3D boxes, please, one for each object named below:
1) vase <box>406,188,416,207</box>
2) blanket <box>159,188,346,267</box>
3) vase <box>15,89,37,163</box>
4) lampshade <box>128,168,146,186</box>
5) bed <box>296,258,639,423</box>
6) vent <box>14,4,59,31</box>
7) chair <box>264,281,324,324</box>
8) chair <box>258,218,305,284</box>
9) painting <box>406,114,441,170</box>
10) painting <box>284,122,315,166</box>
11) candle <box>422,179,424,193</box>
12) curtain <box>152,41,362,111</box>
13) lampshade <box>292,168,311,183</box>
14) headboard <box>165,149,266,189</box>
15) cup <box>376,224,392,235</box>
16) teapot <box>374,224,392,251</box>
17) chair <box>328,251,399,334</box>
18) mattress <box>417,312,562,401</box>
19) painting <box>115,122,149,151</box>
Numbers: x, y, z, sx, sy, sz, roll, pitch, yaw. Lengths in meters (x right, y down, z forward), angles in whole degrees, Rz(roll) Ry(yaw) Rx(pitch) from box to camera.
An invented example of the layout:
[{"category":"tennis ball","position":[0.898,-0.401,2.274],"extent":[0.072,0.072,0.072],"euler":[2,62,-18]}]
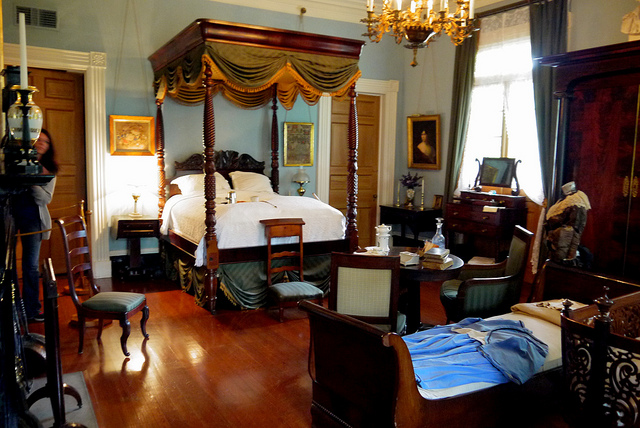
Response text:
[{"category":"vase","position":[1.688,-0.301,8.563],"extent":[0.127,0.300,0.340],"euler":[3,13,10]},{"category":"blanket","position":[-0.992,0.099,6.977],"extent":[2.089,1.048,2.631],"euler":[-1,4,-23]},{"category":"vase","position":[-1.891,-0.556,2.939],"extent":[0.171,0.468,0.182],"euler":[2,3,10]},{"category":"lampshade","position":[-2.719,-0.543,6.840],"extent":[0.236,0.218,0.054],"euler":[11,-6,4]},{"category":"bed","position":[1.270,1.088,3.888],"extent":[2.616,1.106,1.480],"euler":[-4,6,-26]},{"category":"vent","position":[-4.024,-2.776,6.481],"extent":[0.565,0.314,0.107],"euler":[-6,15,-28]},{"category":"chair","position":[-0.325,1.029,5.768],"extent":[0.552,0.340,0.546],"euler":[-4,8,-28]},{"category":"chair","position":[-0.535,0.461,6.029],"extent":[0.763,1.050,0.496],"euler":[-2,11,-14]},{"category":"painting","position":[1.981,-1.362,8.650],"extent":[0.102,1.084,0.911],"euler":[-8,11,-30]},{"category":"painting","position":[-0.411,-1.308,8.351],"extent":[0.818,0.987,0.071],"euler":[-1,6,-27]},{"category":"candle","position":[1.963,-0.529,8.706],"extent":[0.038,0.235,0.165],"euler":[4,13,12]},{"category":"curtain","position":[-1.063,-1.921,6.681],"extent":[2.264,0.760,2.566],"euler":[-6,14,-29]},{"category":"lampshade","position":[-0.351,-0.702,8.343],"extent":[0.312,0.250,0.337],"euler":[0,13,-3]},{"category":"headboard","position":[-1.763,-0.711,7.391],"extent":[0.826,0.506,0.034],"euler":[-5,9,-28]},{"category":"cup","position":[0.738,0.185,5.287],"extent":[0.178,0.120,0.123],"euler":[2,5,7]},{"category":"teapot","position":[0.731,0.274,5.342],"extent":[0.311,0.370,0.241],"euler":[0,-3,7]},{"category":"chair","position":[0.495,0.658,4.474],"extent":[0.654,1.137,0.724],"euler":[3,9,16]},{"category":"mattress","position":[1.478,1.130,3.561],"extent":[1.032,0.107,0.564],"euler":[-8,8,-29]},{"category":"painting","position":[-2.959,-1.209,7.097],"extent":[0.461,0.436,0.049],"euler":[-3,8,-22]}]
